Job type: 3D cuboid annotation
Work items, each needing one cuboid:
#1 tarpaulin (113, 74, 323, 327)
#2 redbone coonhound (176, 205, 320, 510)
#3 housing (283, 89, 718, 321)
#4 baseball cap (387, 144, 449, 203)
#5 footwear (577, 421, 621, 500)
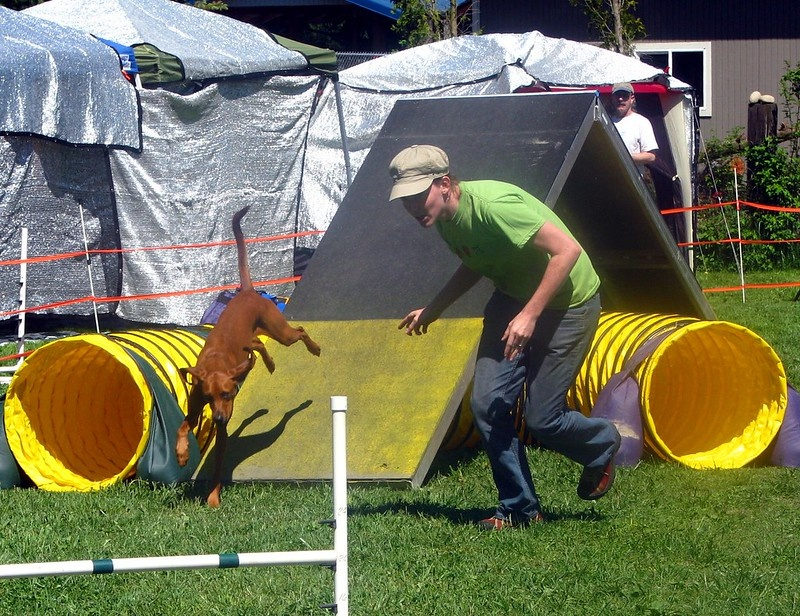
[{"bbox_3d":[-2.075,-1.165,12.772,2.299,3.114,1.658,3,-13,-18],"label":"tarpaulin"},{"bbox_3d":[-1.110,0.211,8.370,0.417,1.658,0.770,13,-33,7],"label":"redbone coonhound"},{"bbox_3d":[0.698,-0.830,9.389,1.887,1.761,2.668,1,-2,43],"label":"housing"},{"bbox_3d":[0.083,-0.814,7.322,0.329,0.285,0.479,-9,-3,24],"label":"baseball cap"},{"bbox_3d":[1.307,1.031,7.634,0.236,0.601,0.186,-2,15,-45],"label":"footwear"}]
